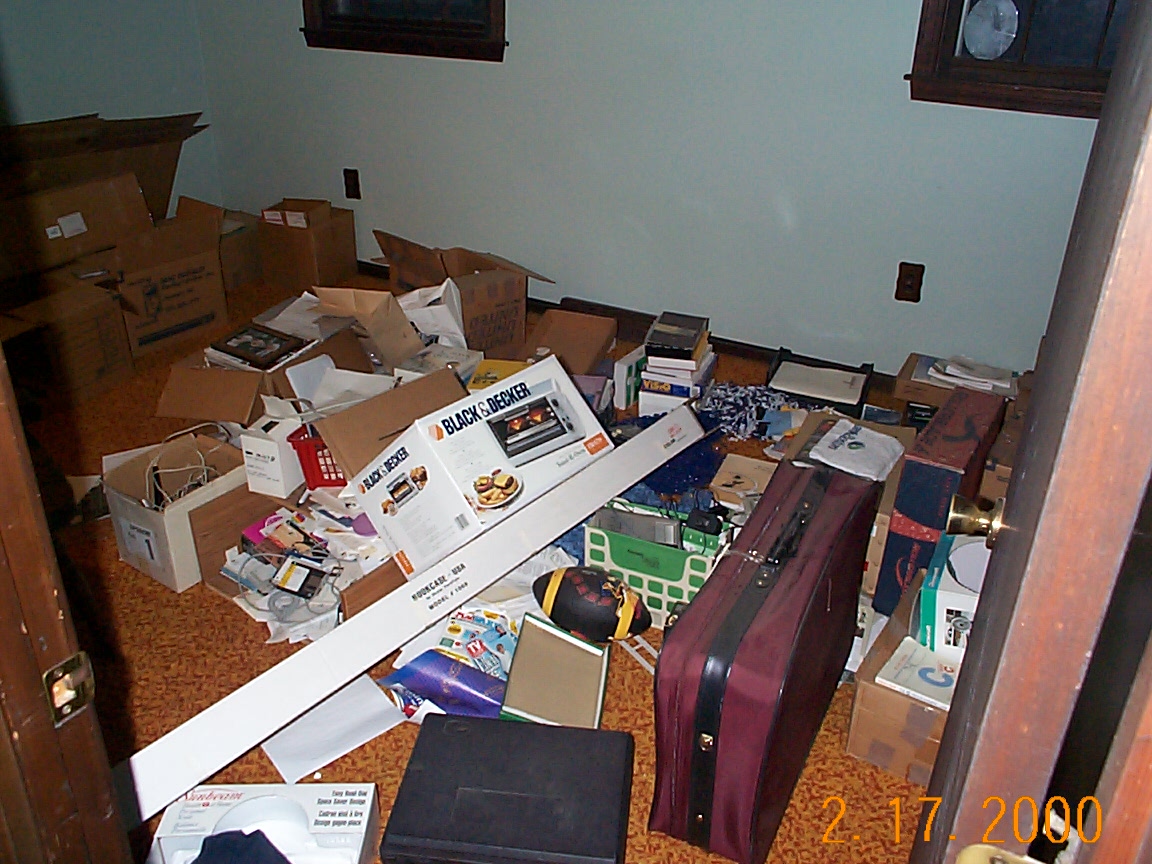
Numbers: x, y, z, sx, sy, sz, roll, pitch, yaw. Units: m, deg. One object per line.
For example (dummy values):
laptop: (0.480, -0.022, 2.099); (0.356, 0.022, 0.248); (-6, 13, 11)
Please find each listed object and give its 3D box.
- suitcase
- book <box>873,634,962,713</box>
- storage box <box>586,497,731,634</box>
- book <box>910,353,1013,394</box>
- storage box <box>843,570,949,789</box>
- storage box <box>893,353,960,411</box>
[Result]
suitcase: (0.454, 0.558, 1.818); (0.233, 0.500, 0.696); (15, 46, 25)
book: (0.851, 0.600, 1.921); (0.165, 0.030, 0.216); (26, 34, 32)
storage box: (0.213, 0.378, 2.118); (0.290, 0.221, 0.172); (25, 26, 24)
book: (1.622, -0.238, 3.230); (0.246, 0.065, 0.252); (-20, 30, -40)
storage box: (0.803, 0.670, 1.938); (0.133, 0.380, 0.528); (16, 62, 11)
storage box: (1.450, -0.231, 3.273); (0.188, 0.071, 0.208); (6, 54, 13)
